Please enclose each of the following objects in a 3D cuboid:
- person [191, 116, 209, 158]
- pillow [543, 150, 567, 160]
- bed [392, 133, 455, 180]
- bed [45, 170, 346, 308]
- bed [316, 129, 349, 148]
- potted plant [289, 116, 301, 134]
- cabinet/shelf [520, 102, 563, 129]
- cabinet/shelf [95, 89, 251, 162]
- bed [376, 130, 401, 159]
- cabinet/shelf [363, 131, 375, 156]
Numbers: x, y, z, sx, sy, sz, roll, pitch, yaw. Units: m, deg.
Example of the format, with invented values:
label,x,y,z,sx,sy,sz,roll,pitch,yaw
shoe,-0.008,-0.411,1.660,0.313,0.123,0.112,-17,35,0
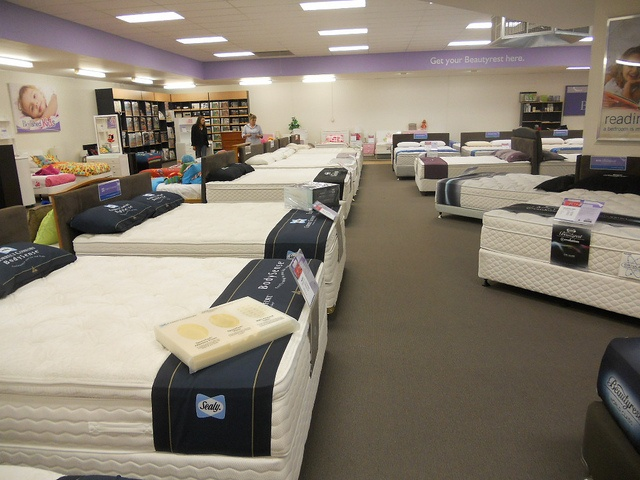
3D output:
label,x,y,z,sx,sy,sz,roll,pitch,yaw
person,-2.966,-2.502,10.252,0.388,0.973,0.776,-9,19,-15
pillow,4.069,-1.492,7.286,0.264,0.077,0.235,13,27,18
bed,2.594,-2.439,11.008,1.746,1.111,1.719,1,13,6
bed,-0.979,-0.116,3.993,1.904,0.966,1.436,1,15,5
bed,0.433,-3.377,13.877,0.867,0.637,0.866,4,18,14
potted plant,-0.878,-3.930,14.280,0.420,0.551,0.624,-5,18,-3
cabinet/shelf,7.206,-4.029,13.566,1.320,0.879,0.603,2,19,18
cabinet/shelf,-4.671,-4.070,14.313,3.666,1.756,1.496,-10,6,-29
bed,2.151,-3.197,13.893,0.935,0.574,0.924,1,19,8
cabinet/shelf,1.663,-3.275,14.323,0.394,0.706,0.404,-1,18,9
